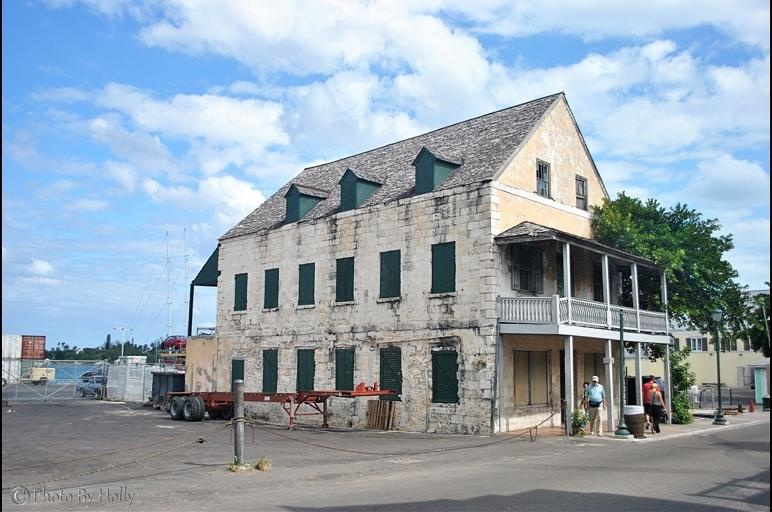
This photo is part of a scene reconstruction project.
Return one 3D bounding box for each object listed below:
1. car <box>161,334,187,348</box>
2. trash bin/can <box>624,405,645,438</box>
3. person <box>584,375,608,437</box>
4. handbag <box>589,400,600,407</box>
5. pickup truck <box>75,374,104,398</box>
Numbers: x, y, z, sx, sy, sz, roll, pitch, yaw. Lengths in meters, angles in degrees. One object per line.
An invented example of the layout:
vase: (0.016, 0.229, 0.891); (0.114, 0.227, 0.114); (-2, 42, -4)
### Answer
car: (-17.399, 7.073, 58.104); (1.070, 1.159, 3.245); (7, -16, -29)
trash bin/can: (9.481, 6.261, 26.916); (0.706, 1.148, 0.523); (-4, -14, 14)
person: (8.156, 5.763, 27.449); (0.815, 2.191, 0.612); (-1, -4, 28)
handbag: (8.100, 5.668, 27.346); (0.400, 0.211, 0.128); (-4, -14, 15)
pickup truck: (-22.918, 10.018, 54.627); (1.665, 1.593, 3.460); (5, -14, -32)
